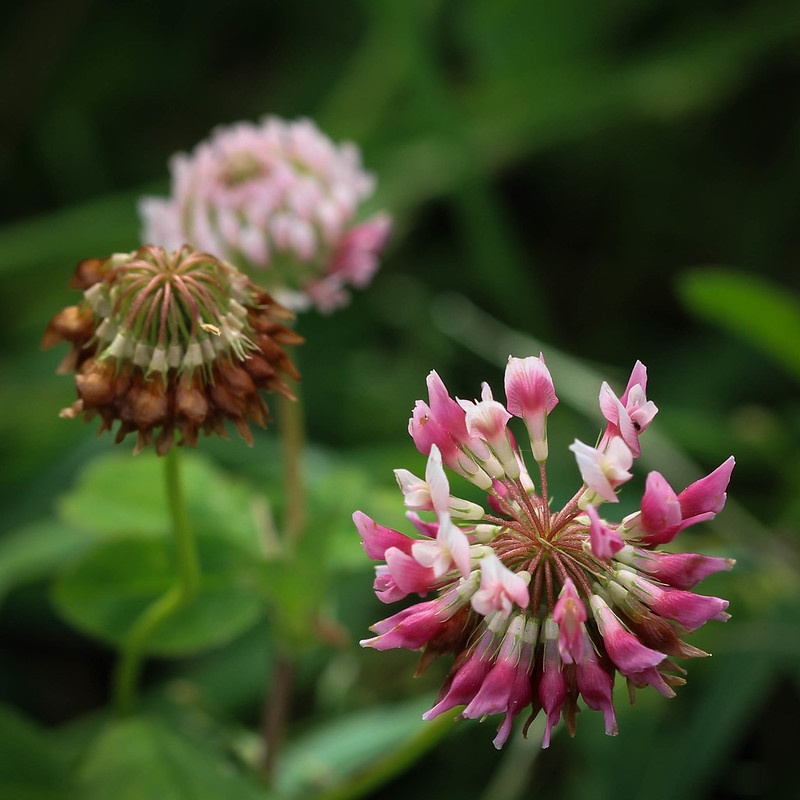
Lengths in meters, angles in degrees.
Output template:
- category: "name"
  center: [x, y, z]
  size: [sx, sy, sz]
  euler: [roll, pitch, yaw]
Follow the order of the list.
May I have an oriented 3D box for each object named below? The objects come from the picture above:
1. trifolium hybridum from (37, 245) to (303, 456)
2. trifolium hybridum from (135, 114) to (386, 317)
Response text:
- category: "trifolium hybridum"
  center: [-0.106, -0.026, 0.497]
  size: [0.142, 0.070, 0.114]
  euler: [-2, 72, -5]
- category: "trifolium hybridum"
  center: [-0.102, -0.146, 0.775]
  size: [0.201, 0.099, 0.165]
  euler: [-8, 72, -8]
